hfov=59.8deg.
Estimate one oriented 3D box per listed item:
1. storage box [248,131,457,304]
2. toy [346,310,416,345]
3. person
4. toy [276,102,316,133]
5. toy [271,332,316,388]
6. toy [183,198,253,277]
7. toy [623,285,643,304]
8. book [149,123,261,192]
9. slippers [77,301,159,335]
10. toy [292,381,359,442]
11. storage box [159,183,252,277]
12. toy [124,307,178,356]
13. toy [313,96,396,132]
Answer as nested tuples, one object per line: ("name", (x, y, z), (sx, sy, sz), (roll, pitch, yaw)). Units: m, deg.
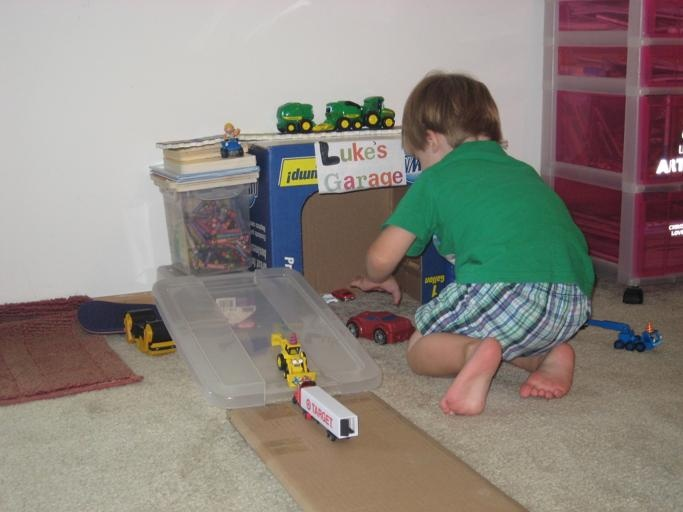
("storage box", (0.018, -0.119, 1.702), (0.469, 0.401, 0.233), (-12, 30, -19))
("toy", (0.106, 0.179, 1.652), (0.147, 0.051, 0.090), (12, 24, 39))
("person", (0.346, -0.067, 1.506), (0.544, 0.726, 0.778), (-2, 15, 2))
("toy", (-0.144, -0.438, 1.865), (0.114, 0.088, 0.084), (-7, 23, -14))
("toy", (-0.115, 0.245, 1.387), (0.055, 0.073, 0.162), (-10, 32, -15))
("toy", (-0.371, -0.078, 1.894), (0.239, 0.264, 0.206), (-5, 11, -26))
("toy", (0.901, 0.117, 1.838), (0.057, 0.054, 0.054), (4, 9, 27))
("book", (-0.393, -0.271, 1.692), (0.241, 0.089, 0.229), (-6, 19, -9))
("slippers", (-0.669, 0.178, 1.761), (0.210, 0.021, 0.118), (0, 35, -21))
("toy", (-0.038, 0.303, 1.223), (0.053, 0.058, 0.180), (-9, 22, -28))
("storage box", (-0.379, -0.093, 1.803), (0.332, 0.300, 0.259), (-4, 14, -16))
("toy", (-0.527, 0.205, 1.637), (0.106, 0.086, 0.169), (-9, 21, -34))
("toy", (0.048, -0.458, 1.915), (0.268, 0.099, 0.111), (-9, 22, -15))
